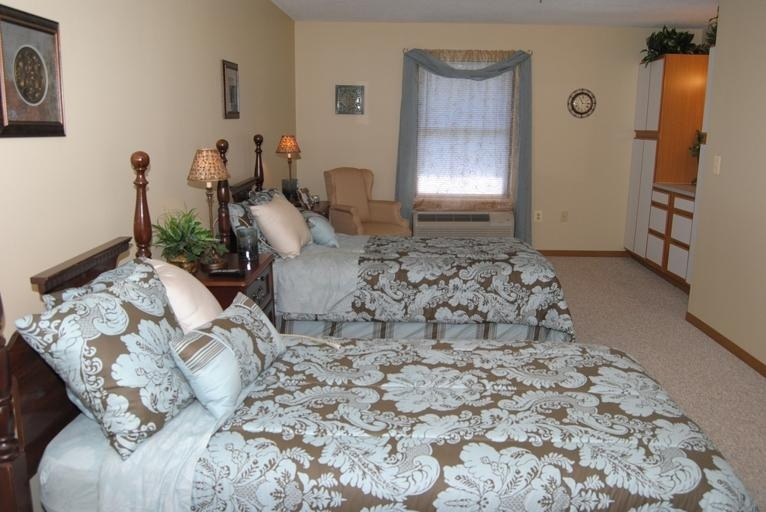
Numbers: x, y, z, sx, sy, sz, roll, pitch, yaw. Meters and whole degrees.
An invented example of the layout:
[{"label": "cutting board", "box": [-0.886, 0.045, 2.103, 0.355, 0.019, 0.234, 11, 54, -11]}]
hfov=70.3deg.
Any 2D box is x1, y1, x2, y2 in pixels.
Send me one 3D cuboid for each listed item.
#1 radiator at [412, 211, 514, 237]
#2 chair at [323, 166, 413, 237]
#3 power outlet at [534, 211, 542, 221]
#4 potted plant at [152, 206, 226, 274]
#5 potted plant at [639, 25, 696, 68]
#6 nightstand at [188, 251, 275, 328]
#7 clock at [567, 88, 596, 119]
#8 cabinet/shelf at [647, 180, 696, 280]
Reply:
[{"label": "radiator", "box": [1.039, -0.396, 7.143, 1.153, 0.350, 0.408, 0, -11, 4]}, {"label": "chair", "box": [-0.153, -0.591, 6.334, 0.937, 1.092, 0.849, 12, 18, 41]}, {"label": "power outlet", "box": [2.031, -0.538, 7.140, 0.121, 0.165, 0.017, 0, 6, 5]}, {"label": "potted plant", "box": [-1.308, -0.105, 3.602, 0.429, 0.383, 0.419, 1, -2, 16]}, {"label": "potted plant", "box": [3.306, -2.434, 6.341, 0.543, 0.339, 0.569, 4, 11, 24]}, {"label": "nightstand", "box": [-0.972, 0.150, 3.679, 0.401, 0.560, 0.591, 0, 19, 2]}, {"label": "clock", "box": [2.524, -1.918, 6.881, 0.332, 0.330, 0.076, -1, 8, -1]}, {"label": "cabinet/shelf", "box": [3.167, -0.301, 5.939, 0.480, 0.907, 0.981, 3, 12, 9]}]
